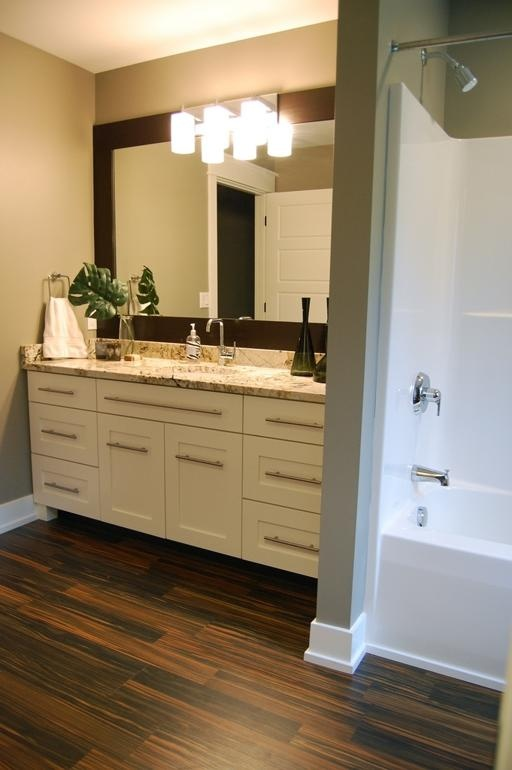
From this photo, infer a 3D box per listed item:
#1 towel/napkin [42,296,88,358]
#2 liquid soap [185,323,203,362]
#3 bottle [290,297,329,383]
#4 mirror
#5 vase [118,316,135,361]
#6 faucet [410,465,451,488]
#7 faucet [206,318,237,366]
[{"bbox_3d":[-0.971,-0.281,2.806,0.069,0.294,0.207,-2,0,41],"label":"towel/napkin"},{"bbox_3d":[-0.315,-0.216,2.777,0.076,0.185,0.205,0,5,-7],"label":"liquid soap"},{"bbox_3d":[0.220,-0.192,2.307,0.143,0.339,0.438,1,5,5],"label":"bottle"},{"bbox_3d":[-0.174,-0.809,2.662,1.269,0.973,0.066,3,7,26],"label":"mirror"},{"bbox_3d":[-0.680,-0.247,2.932,0.076,0.231,0.255,-1,5,-14],"label":"vase"},{"bbox_3d":[0.593,0.318,1.881,0.117,0.054,0.076,1,50,27],"label":"faucet"},{"bbox_3d":[-0.176,-0.215,2.706,0.236,0.223,0.126,5,7,45],"label":"faucet"}]
